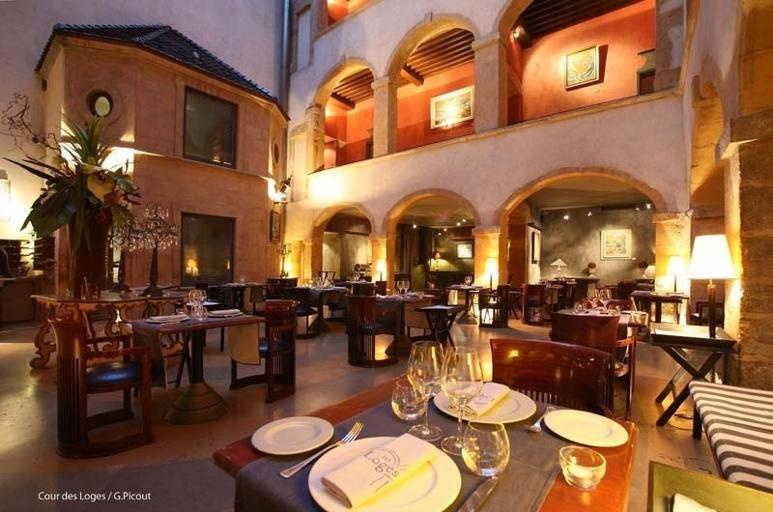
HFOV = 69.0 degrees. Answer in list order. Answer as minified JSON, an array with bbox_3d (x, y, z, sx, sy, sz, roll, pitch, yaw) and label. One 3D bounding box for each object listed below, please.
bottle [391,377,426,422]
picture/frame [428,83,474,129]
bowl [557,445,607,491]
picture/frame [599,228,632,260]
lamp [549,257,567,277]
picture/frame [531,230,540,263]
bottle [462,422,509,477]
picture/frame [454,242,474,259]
[{"bbox_3d":[0.218,1.392,5.521,0.330,0.328,0.336,0,2,21],"label":"bottle"},{"bbox_3d":[1.939,-4.340,16.387,1.981,1.443,0.093,-1,-4,40],"label":"picture/frame"},{"bbox_3d":[1.793,1.937,5.162,0.369,0.255,0.366,-1,2,0],"label":"bowl"},{"bbox_3d":[6.826,-0.350,16.622,0.906,1.083,0.082,2,-5,38],"label":"picture/frame"},{"bbox_3d":[5.355,0.337,17.547,0.517,0.612,0.542,3,-3,-39],"label":"lamp"},{"bbox_3d":[4.492,-0.301,17.004,0.142,0.857,0.994,-1,-3,22],"label":"picture/frame"},{"bbox_3d":[0.901,1.807,5.408,0.452,0.444,0.456,-1,-1,-3],"label":"bottle"},{"bbox_3d":[2.865,-0.212,20.568,0.063,0.524,0.601,11,-8,-42],"label":"picture/frame"}]
